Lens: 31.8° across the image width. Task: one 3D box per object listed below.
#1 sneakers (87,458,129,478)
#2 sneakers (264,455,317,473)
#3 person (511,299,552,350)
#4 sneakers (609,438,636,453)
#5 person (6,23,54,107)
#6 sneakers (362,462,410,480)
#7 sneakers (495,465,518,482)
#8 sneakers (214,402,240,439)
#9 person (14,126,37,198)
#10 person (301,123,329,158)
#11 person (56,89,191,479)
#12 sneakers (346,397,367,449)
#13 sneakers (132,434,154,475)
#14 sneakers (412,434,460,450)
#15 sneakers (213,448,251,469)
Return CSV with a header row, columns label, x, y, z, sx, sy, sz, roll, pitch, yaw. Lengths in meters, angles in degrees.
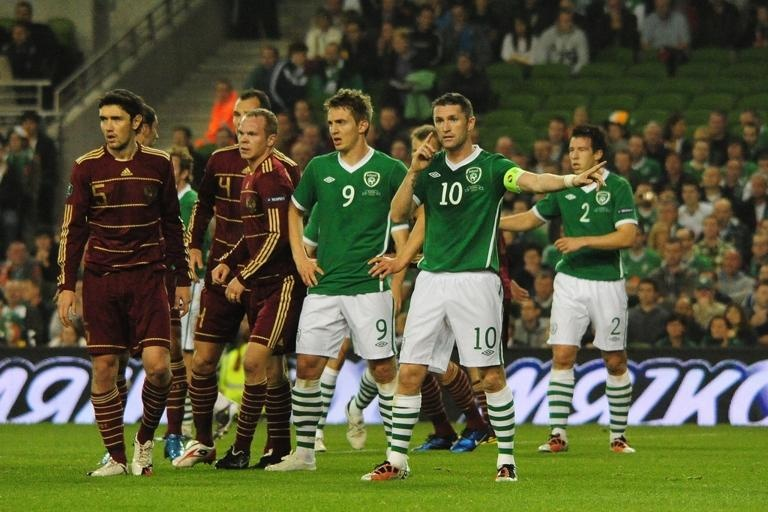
label,x,y,z,sx,sy,sz,roll,pitch,yaw
sneakers,-3.237,2.496,15.968,0.537,0.244,0.183,3,-1,-6
sneakers,-1.148,2.480,16.329,0.635,0.289,0.223,2,-7,-7
person,2.277,1.089,21.321,0.675,0.743,0.281,0,8,16
sneakers,3.077,2.459,17.560,0.137,0.175,0.390,1,-8,-23
person,-7.323,-3.902,27.723,0.757,1.695,0.980,-2,-4,45
sneakers,0.020,2.504,15.778,0.559,0.250,0.205,1,-6,-19
sneakers,1.421,2.507,15.734,0.281,0.201,0.223,1,-3,-5
sneakers,-2.195,2.198,18.785,0.173,0.220,0.487,-11,7,22
person,-6.823,-1.784,25.510,0.442,1.299,0.331,0,-3,26
person,-1.260,-2.083,24.398,0.537,0.789,0.757,-1,-15,-5
person,-3.087,0.304,15.967,1.512,4.555,0.485,2,-3,-16
sneakers,-0.388,2.212,18.011,0.238,0.678,0.276,-12,5,-25
sneakers,-2.889,2.387,16.143,0.171,0.540,0.221,2,-24,-17
sneakers,0.668,2.460,17.959,0.618,0.287,0.214,0,-7,-3
sneakers,-1.868,2.454,16.442,0.353,0.229,0.228,3,-9,4
